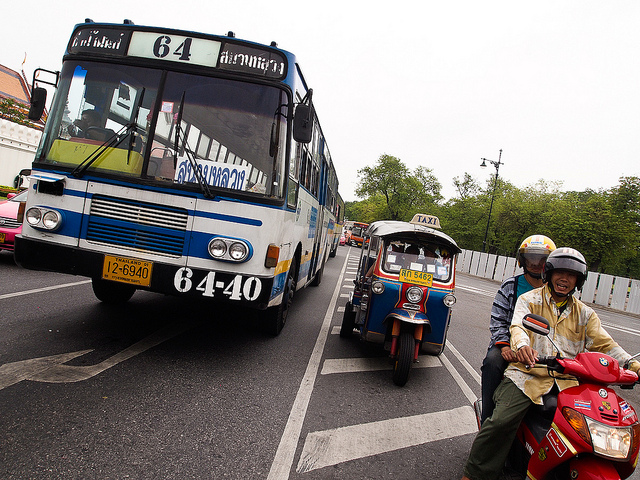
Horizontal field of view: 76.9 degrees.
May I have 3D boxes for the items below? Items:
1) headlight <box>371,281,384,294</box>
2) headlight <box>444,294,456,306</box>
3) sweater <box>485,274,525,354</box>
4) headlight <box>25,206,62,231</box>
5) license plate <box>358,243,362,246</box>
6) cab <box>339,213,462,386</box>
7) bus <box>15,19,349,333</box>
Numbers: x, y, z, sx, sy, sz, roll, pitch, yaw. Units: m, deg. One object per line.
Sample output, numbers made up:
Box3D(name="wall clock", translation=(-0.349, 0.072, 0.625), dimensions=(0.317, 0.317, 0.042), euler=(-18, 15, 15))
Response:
Box3D(name="headlight", translation=(0.869, 0.706, 6.027), dimensions=(0.167, 0.205, 0.158), euler=(-1, 1, 3))
Box3D(name="headlight", translation=(1.939, 0.892, 6.005), dimensions=(0.149, 0.152, 0.116), euler=(10, 4, 19))
Box3D(name="sweater", translation=(1.925, 0.809, 4.211), dimensions=(0.262, 0.833, 0.950), euler=(10, 4, 25))
Box3D(name="headlight", translation=(-3.636, -0.296, 5.310), dimensions=(0.500, 0.269, 0.098), euler=(10, 4, 14))
Box3D(name="license plate", translation=(4.897, 0.506, 50.052), dimensions=(0.335, 0.344, 0.095), euler=(0, 14, 35))
Box3D(name="cab", translation=(1.516, 0.900, 7.820), dimensions=(1.616, 2.448, 4.246), euler=(10, 2, 5))
Box3D(name="bus", translation=(-1.820, -0.654, 6.126), dimensions=(4.355, 4.460, 2.947), euler=(5, 5, -38))
